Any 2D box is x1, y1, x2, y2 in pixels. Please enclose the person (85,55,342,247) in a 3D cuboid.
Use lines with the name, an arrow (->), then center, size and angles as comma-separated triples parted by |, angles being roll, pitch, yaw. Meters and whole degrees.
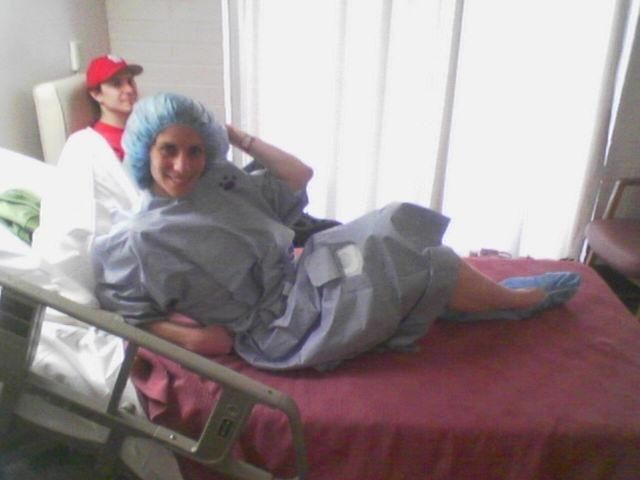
person -> -0.532, -0.404, 2.754 | 1.467, 0.868, 0.684 | 10, 10, -7

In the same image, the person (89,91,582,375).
person -> 0.074, -0.061, 1.967 | 1.749, 0.937, 0.682 | -6, 33, -2

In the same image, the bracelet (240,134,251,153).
bracelet -> -0.295, -0.386, 2.099 | 0.048, 0.060, 0.055 | 17, 3, -10

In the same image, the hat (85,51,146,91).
hat -> -1.115, -0.852, 2.645 | 0.225, 0.154, 0.309 | -5, 20, -34
